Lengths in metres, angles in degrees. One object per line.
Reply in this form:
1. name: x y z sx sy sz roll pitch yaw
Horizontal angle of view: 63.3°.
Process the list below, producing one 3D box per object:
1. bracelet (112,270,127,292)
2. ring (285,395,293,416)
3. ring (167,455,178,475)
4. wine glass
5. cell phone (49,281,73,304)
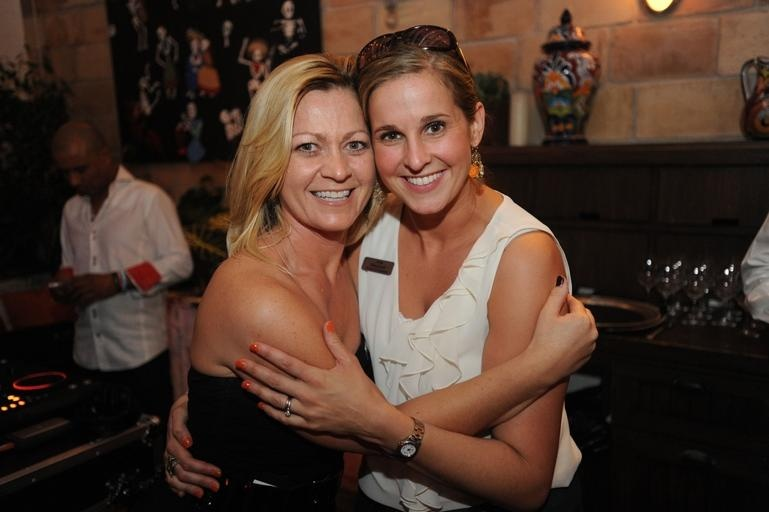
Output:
1. bracelet: -1.118 0.098 2.651 0.054 0.077 0.071 1 -2 28
2. ring: -0.338 0.526 2.189 0.031 0.056 0.044 6 1 6
3. ring: -0.832 0.808 2.428 0.025 0.069 0.050 -1 3 36
4. wine glass: 1.586 0.166 3.243 0.342 0.156 0.447 -1 11 8
5. cell phone: -1.317 0.143 2.520 0.053 0.094 0.036 -9 9 -25
